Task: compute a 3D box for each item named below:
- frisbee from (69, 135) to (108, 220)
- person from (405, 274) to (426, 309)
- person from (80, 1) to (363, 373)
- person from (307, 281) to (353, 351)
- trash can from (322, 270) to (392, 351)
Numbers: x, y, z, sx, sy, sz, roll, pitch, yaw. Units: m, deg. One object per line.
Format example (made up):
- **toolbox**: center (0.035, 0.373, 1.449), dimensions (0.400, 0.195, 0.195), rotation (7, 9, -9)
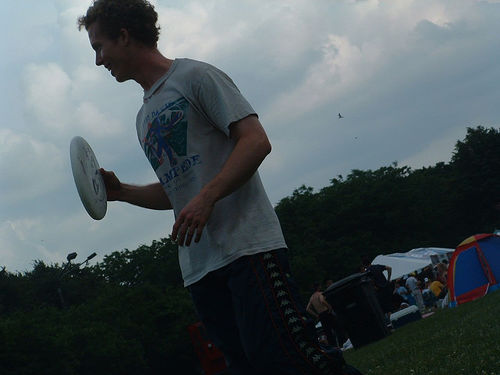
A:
- **frisbee**: center (-1.448, -0.077, 5.005), dimensions (0.081, 0.611, 0.538), rotation (-15, -32, 4)
- **person**: center (4.775, 3.065, 15.909), dimensions (0.294, 0.903, 2.292), rotation (-23, -8, 11)
- **person**: center (-0.354, -0.068, 4.862), dimensions (1.295, 2.725, 0.787), rotation (-24, -9, 14)
- **person**: center (2.075, 3.655, 15.381), dimensions (0.714, 2.142, 0.607), rotation (-29, -22, 38)
- **trash can**: center (2.095, 2.405, 10.843), dimensions (0.937, 1.344, 0.590), rotation (-23, -9, 6)
